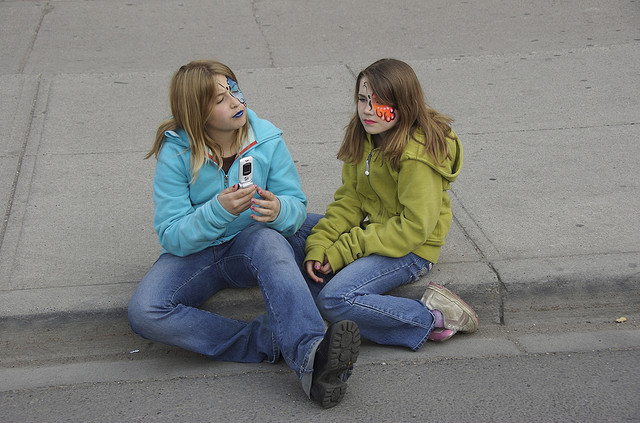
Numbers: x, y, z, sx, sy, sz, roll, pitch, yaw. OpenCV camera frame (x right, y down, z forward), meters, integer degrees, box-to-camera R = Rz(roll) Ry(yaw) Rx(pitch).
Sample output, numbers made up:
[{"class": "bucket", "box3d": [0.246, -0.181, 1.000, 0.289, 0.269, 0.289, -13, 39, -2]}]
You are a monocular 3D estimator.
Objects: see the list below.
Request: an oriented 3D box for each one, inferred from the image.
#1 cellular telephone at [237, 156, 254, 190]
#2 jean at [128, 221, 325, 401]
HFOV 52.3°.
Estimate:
[{"class": "cellular telephone", "box3d": [-0.458, -0.234, 3.969, 0.100, 0.177, 0.147, -3, 44, -7]}, {"class": "jean", "box3d": [-0.623, 0.536, 4.076, 0.936, 0.495, 1.336, -11, 24, -32]}]
